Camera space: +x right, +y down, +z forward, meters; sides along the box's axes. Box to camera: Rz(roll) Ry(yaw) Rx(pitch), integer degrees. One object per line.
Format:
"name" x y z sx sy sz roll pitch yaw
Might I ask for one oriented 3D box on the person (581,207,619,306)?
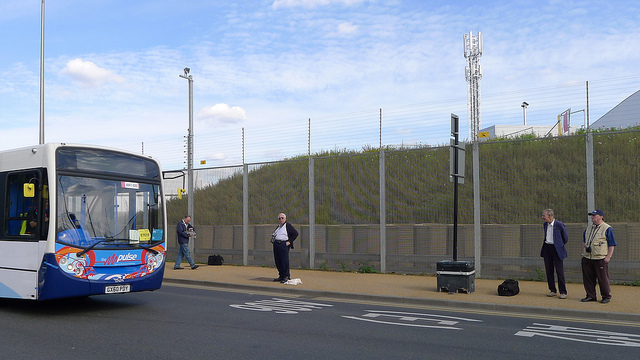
"person" 8.640 2.374 20.985 0.913 2.768 1.079 -5 10 -25

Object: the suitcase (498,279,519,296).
"suitcase" 6.070 3.466 21.677 0.649 0.311 0.390 -1 2 -43

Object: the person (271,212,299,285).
"person" -1.309 2.509 24.486 0.913 2.497 1.372 -1 9 -4

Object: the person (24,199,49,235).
"person" -8.345 1.141 19.697 1.000 0.852 0.306 -1 -7 38
